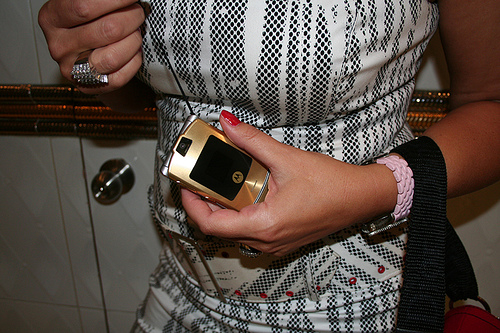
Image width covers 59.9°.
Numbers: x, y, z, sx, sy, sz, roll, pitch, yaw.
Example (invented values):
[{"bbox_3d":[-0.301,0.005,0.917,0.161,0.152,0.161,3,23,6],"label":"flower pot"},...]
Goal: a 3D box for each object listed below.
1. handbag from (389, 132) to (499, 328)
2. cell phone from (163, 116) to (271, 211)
[{"bbox_3d":[0.411,0.179,1.000,0.256,0.097,0.483,-14,98,-50],"label":"handbag"},{"bbox_3d":[-0.067,0.006,0.936,0.227,0.053,0.140,27,78,3],"label":"cell phone"}]
